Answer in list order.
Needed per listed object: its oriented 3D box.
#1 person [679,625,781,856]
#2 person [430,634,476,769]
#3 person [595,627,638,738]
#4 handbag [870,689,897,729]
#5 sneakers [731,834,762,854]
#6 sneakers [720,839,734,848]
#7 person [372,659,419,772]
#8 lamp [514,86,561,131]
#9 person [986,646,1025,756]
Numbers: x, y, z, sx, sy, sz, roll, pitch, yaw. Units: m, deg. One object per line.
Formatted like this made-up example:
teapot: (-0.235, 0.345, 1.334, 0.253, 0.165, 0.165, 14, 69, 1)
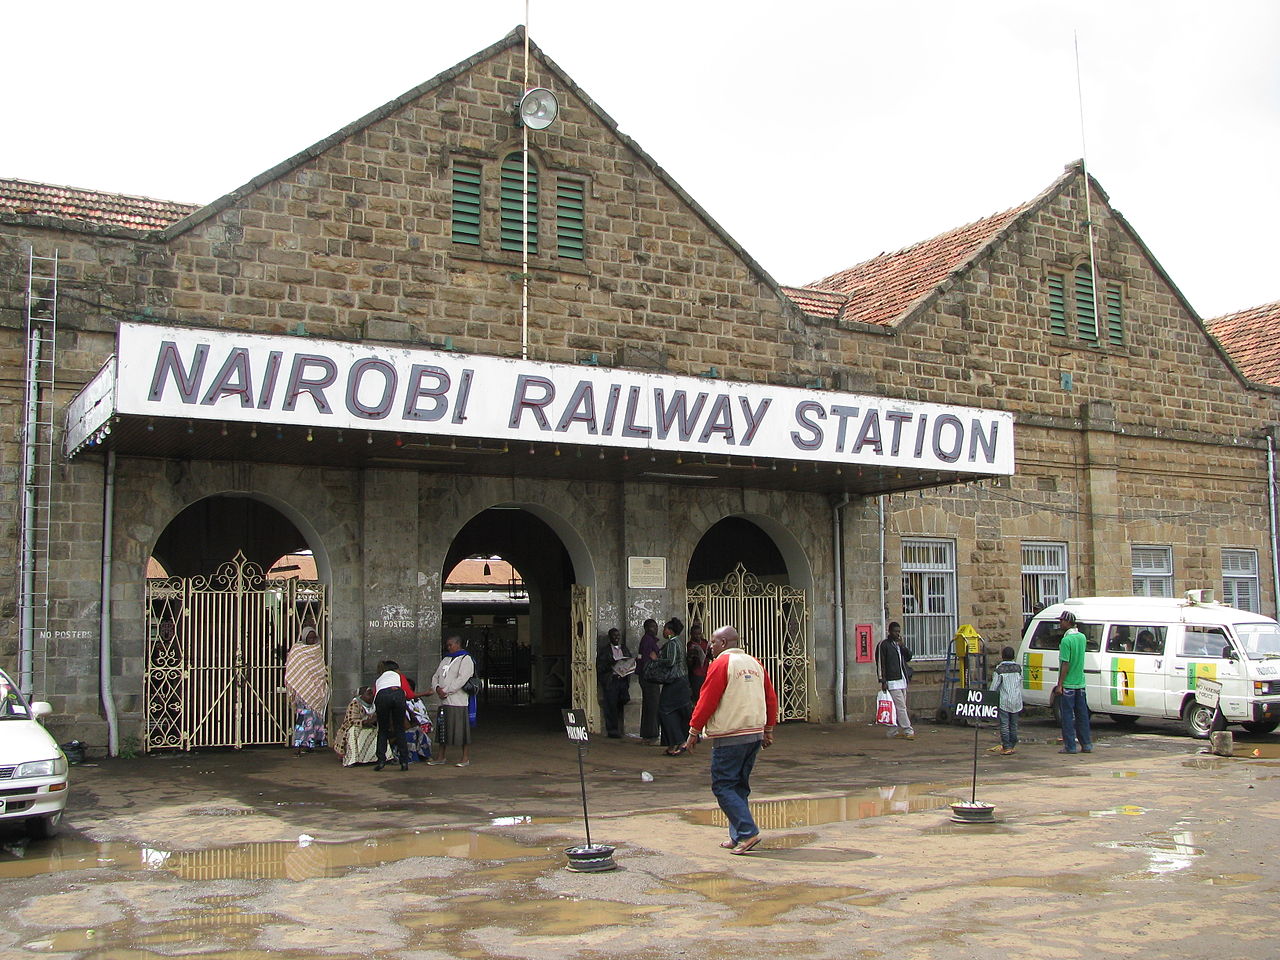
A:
person: (0.905, 2.559, 13.859, 0.720, 2.133, 0.874, 0, -1, 24)
person: (-2.657, 3.089, 19.920, 0.543, 1.788, 1.545, 0, -2, -9)
person: (-0.386, 3.254, 22.326, 0.607, 1.749, 0.702, 0, -1, -2)
handbag: (4.057, 3.763, 22.998, 0.324, 0.633, 0.899, 0, -2, 9)
sneakers: (1.010, 3.520, 13.543, 0.265, 0.191, 0.257, 0, -2, 0)
sneakers: (0.864, 3.595, 13.784, 0.121, 0.130, 0.067, 0, -6, 33)
person: (-3.407, 3.206, 19.171, 0.499, 1.429, 0.733, 0, -1, -11)
lamp: (-1.628, -5.966, 22.366, 0.764, 0.790, 0.502, 1, -2, -25)
person: (5.417, 3.243, 20.822, 0.414, 1.590, 1.605, 0, -2, 14)
